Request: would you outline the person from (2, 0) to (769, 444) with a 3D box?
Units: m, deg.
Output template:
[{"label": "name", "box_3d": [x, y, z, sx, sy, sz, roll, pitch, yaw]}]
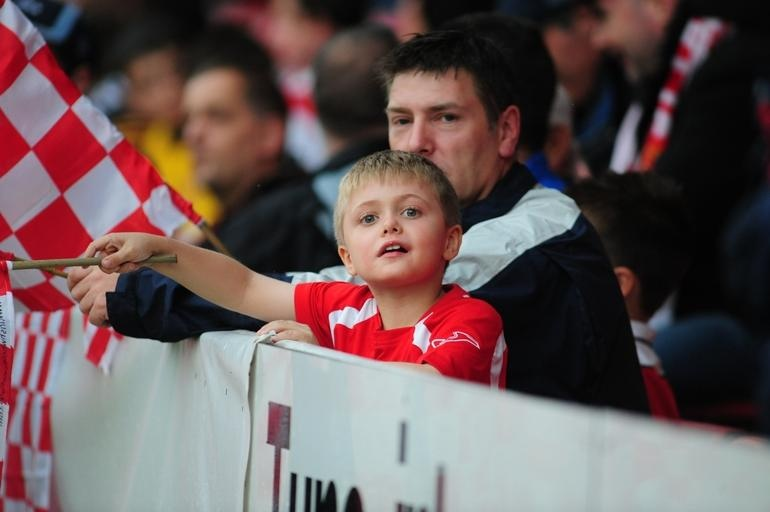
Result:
[{"label": "person", "box_3d": [-0.220, -0.161, 5.121, 2.597, 1.410, 0.573, 3, 13, -1]}]
